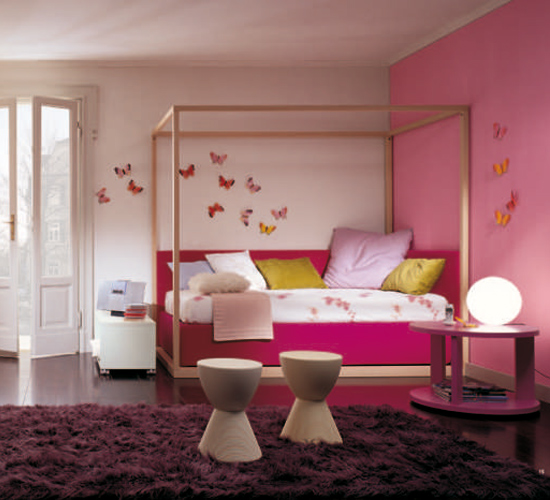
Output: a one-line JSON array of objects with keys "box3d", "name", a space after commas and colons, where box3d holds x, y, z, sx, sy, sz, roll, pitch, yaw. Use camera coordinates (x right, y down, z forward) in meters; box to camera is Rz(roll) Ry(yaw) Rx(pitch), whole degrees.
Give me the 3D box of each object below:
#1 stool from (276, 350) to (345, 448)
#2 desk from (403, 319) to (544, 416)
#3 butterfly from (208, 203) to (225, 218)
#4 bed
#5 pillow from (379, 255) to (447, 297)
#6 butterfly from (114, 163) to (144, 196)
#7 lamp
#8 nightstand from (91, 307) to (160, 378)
[{"box3d": [0.164, 0.671, 2.285, 0.367, 0.396, 0.389, 0, 8, 3], "name": "stool"}, {"box3d": [1.284, 0.746, 3.029, 0.708, 0.421, 0.612, 3, 5, 40], "name": "desk"}, {"box3d": [-0.638, -0.427, 5.188, 0.170, 0.142, 0.044, -6, 6, -16], "name": "butterfly"}, {"box3d": [0.234, -0.437, 4.984, 2.774, 2.123, 2.095, 8, 21, -4], "name": "bed"}, {"box3d": [1.207, 0.227, 4.288, 0.239, 0.303, 0.618, 2, -3, -22], "name": "pillow"}, {"box3d": [-1.563, -0.760, 5.111, 0.323, 0.323, 0.029, 2, -3, -9], "name": "butterfly"}, {"box3d": [1.426, 0.318, 3.111, 0.341, 0.321, 0.081, 3, 1, 31], "name": "lamp"}, {"box3d": [-1.263, 0.756, 4.052, 0.420, 0.335, 0.776, 0, 0, -10], "name": "nightstand"}]
